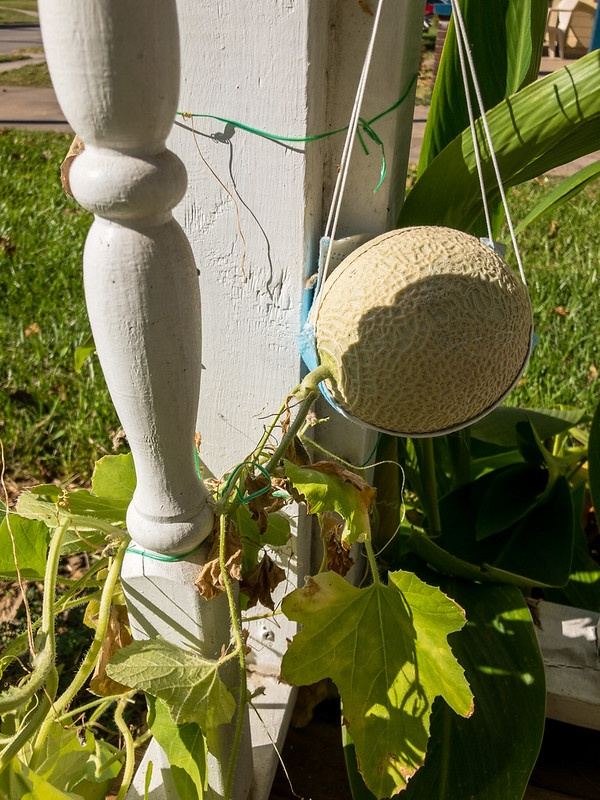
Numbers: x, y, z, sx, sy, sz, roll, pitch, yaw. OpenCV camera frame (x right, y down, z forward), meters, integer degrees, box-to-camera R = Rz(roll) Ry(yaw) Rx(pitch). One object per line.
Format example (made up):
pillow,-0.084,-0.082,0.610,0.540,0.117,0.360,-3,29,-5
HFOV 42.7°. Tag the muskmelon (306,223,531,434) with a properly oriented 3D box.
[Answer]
muskmelon,0.123,-0.064,0.810,0.223,0.178,0.183,-28,39,-11
